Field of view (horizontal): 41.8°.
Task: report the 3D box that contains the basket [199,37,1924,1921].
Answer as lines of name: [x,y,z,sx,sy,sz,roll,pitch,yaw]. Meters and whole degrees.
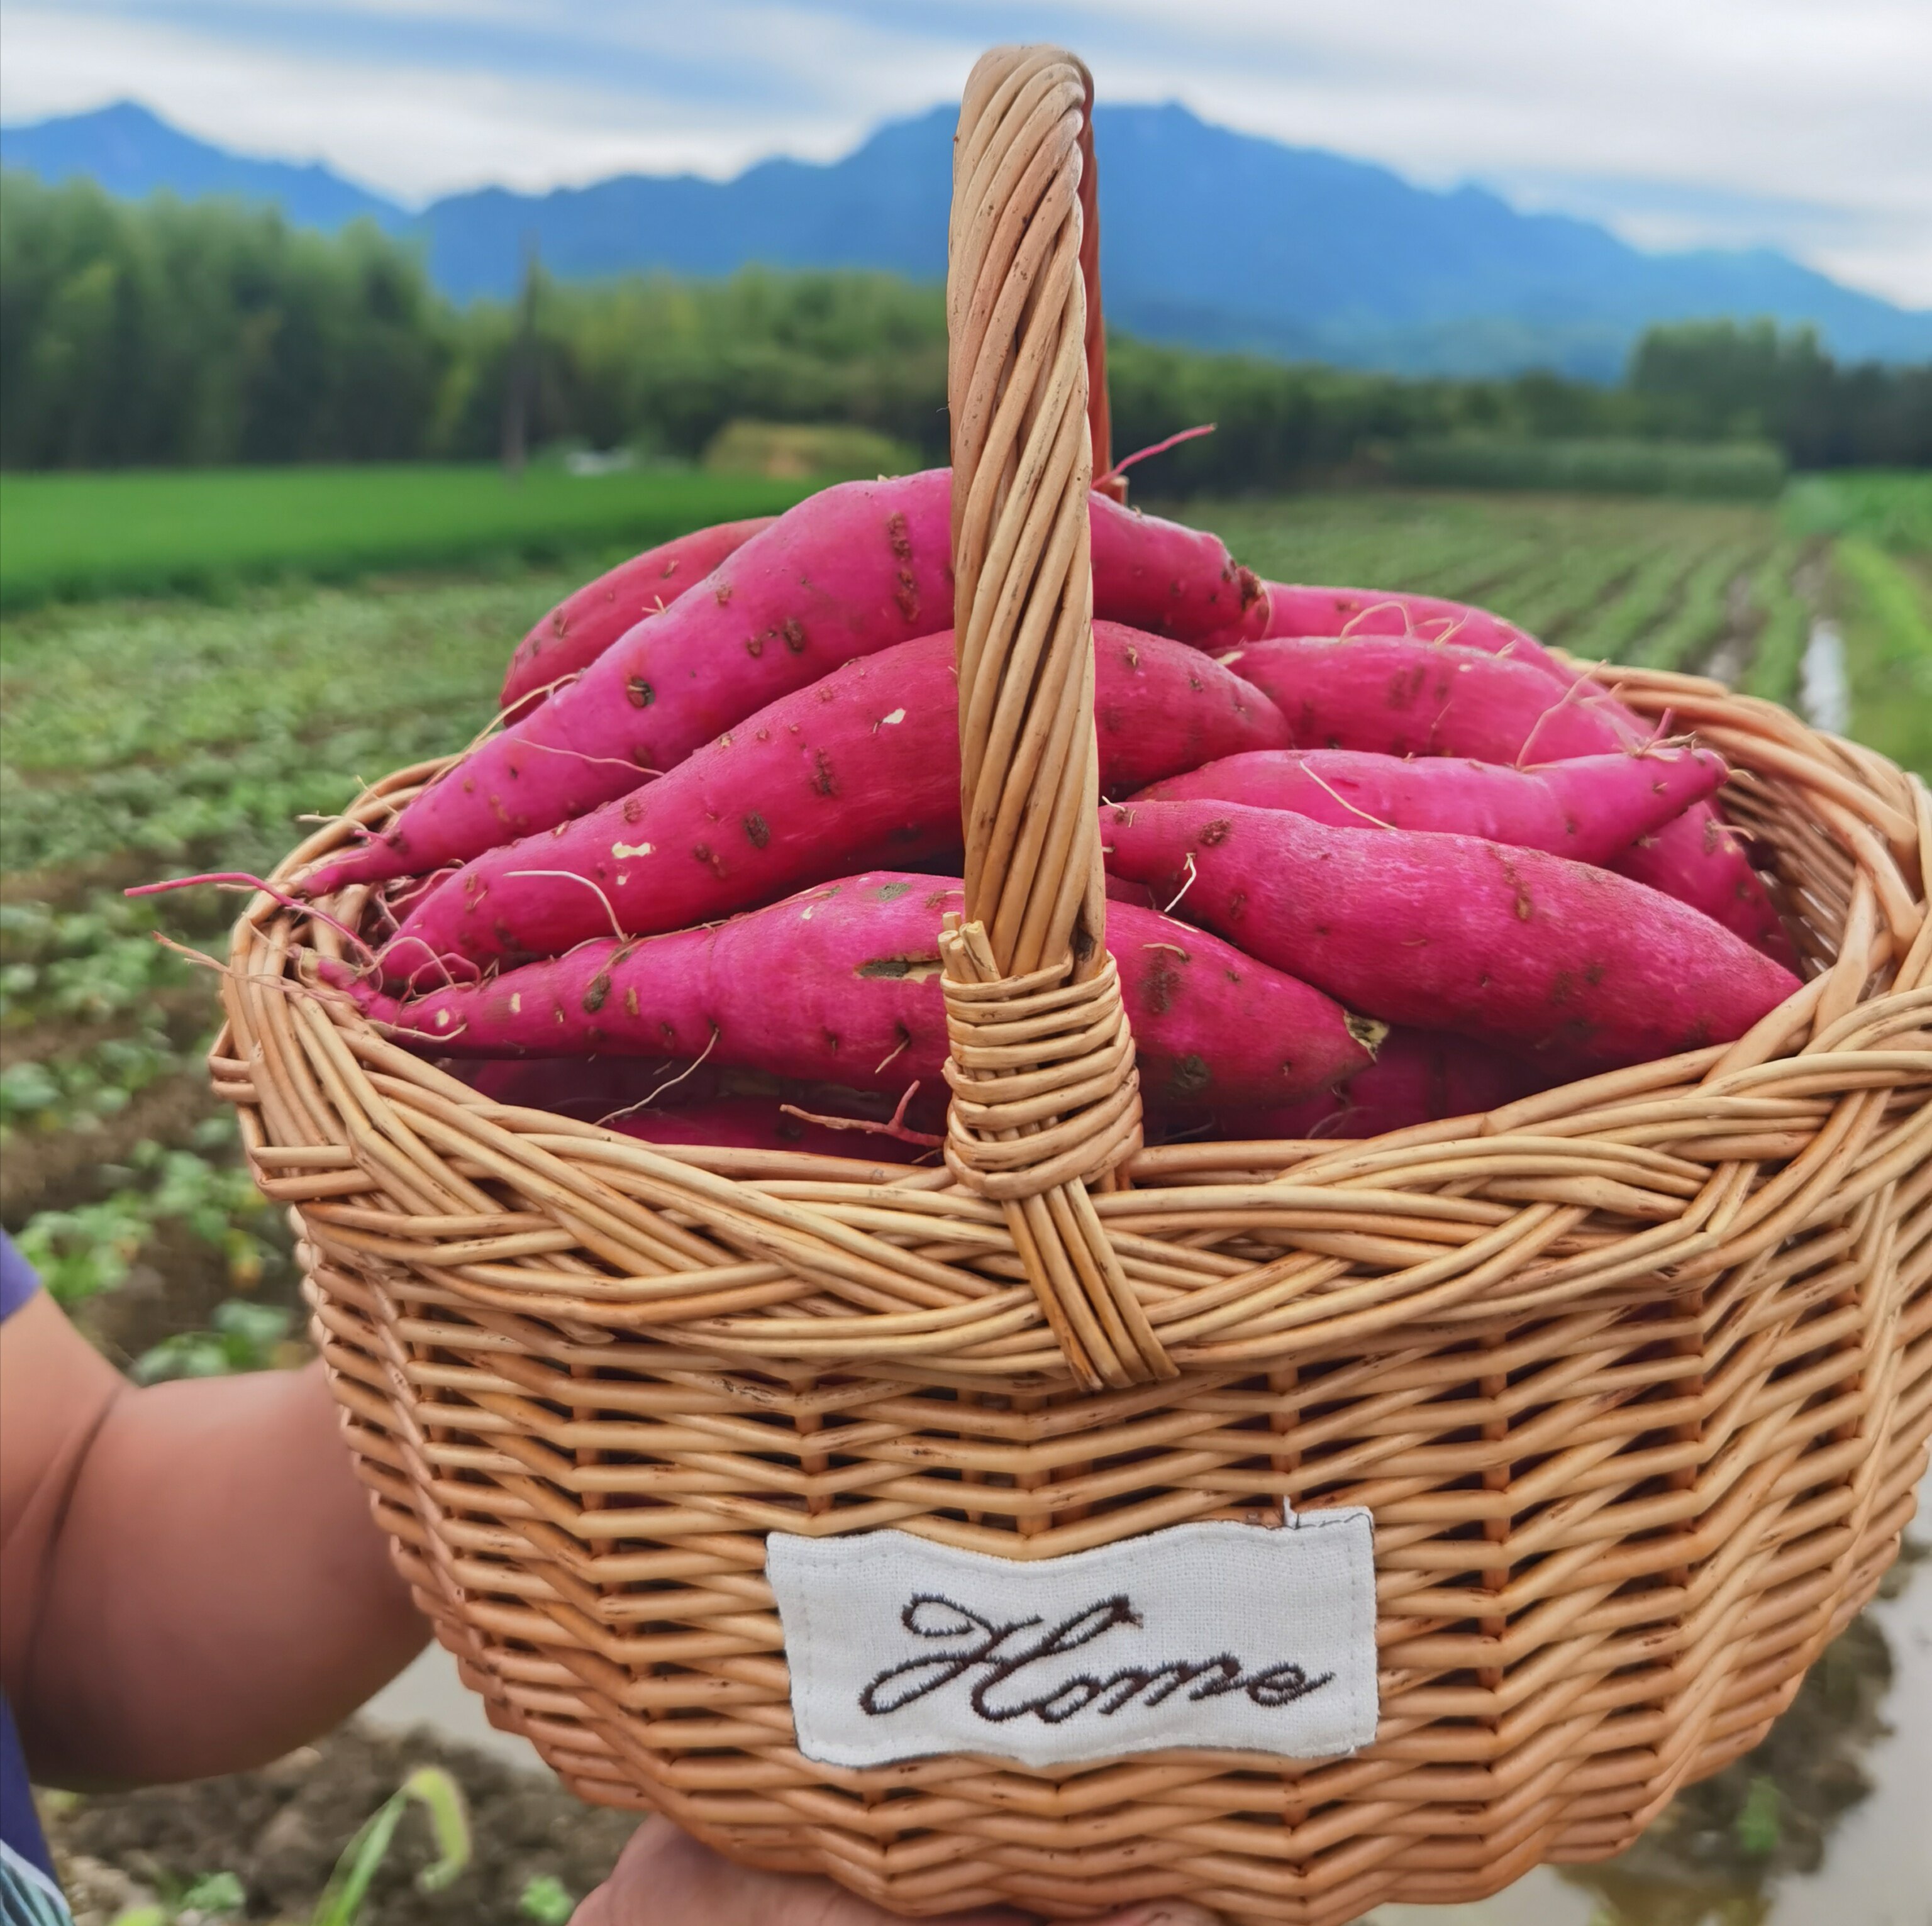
basket: [0.096,0.013,1.232,0.914,0.874,0.412,-2,17,-13]

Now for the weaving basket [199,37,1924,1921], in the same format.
weaving basket: [0.104,-0.029,1.509,1.145,0.862,0.776,-3,17,0]

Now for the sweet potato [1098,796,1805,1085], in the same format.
sweet potato: [0.270,-0.027,1.279,0.407,0.102,0.119,12,44,44]

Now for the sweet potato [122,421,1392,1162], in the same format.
sweet potato: [-0.081,-0.081,1.309,0.569,0.173,0.393,0,22,7]
